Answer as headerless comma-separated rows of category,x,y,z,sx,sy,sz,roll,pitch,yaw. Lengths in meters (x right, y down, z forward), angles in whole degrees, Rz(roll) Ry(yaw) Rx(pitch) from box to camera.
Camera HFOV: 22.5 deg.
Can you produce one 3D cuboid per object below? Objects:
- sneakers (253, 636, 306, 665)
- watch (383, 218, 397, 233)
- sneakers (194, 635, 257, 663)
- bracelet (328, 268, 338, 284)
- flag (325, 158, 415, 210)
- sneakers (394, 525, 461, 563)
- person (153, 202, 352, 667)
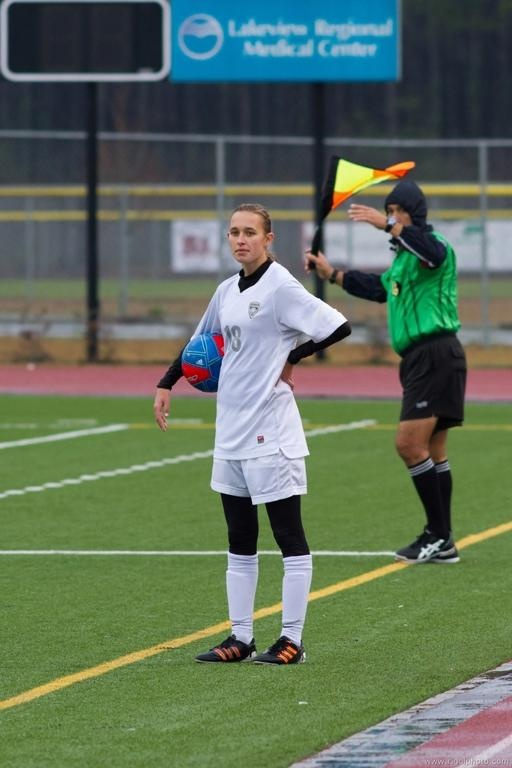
sneakers,0.101,1.008,4.793,0.229,0.089,0.076,0,-10,-14
watch,0.660,-0.786,6.334,0.054,0.067,0.076,11,45,10
sneakers,-0.106,1.017,4.906,0.247,0.091,0.082,0,-7,-15
bracelet,0.418,-0.580,6.916,0.048,0.060,0.069,5,-8,-4
flag,0.540,-0.985,6.239,0.390,0.269,0.107,-11,-10,-26
sneakers,0.899,0.862,6.691,0.390,0.173,0.137,2,-3,-6
person,0.057,0.273,4.886,0.574,1.546,0.395,0,6,15
